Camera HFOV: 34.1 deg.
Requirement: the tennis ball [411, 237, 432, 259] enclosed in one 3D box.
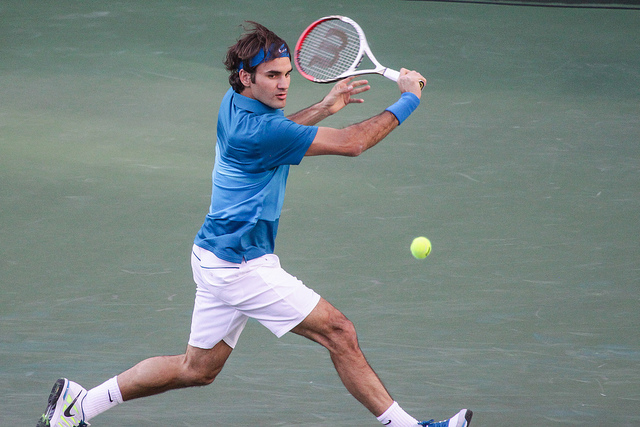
[{"bbox_3d":[0.920,0.320,9.620,0.249,0.188,0.204,7,-12,-12],"label":"tennis ball"}]
